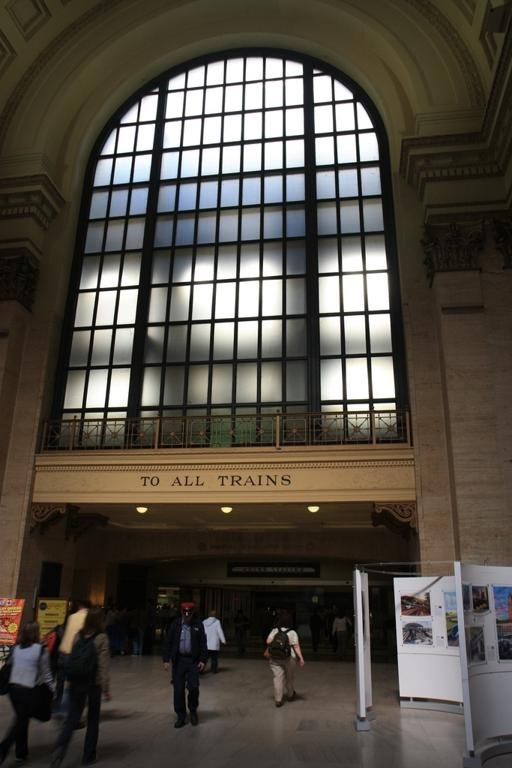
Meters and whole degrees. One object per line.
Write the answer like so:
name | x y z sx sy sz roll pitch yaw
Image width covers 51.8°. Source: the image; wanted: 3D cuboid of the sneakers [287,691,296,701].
sneakers | 0.559 4.851 8.260 0.123 0.152 0.381 -5 -31 12

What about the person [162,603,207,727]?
person | -0.810 3.195 6.057 0.474 1.296 0.431 1 -18 -5

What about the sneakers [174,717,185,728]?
sneakers | -0.859 3.782 5.953 0.127 0.116 0.259 2 -18 -7

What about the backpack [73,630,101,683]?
backpack | -1.419 2.184 4.235 0.126 0.268 0.170 -13 1 -21

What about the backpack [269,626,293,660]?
backpack | 0.328 3.666 7.465 0.313 0.453 0.320 -1 -18 3
